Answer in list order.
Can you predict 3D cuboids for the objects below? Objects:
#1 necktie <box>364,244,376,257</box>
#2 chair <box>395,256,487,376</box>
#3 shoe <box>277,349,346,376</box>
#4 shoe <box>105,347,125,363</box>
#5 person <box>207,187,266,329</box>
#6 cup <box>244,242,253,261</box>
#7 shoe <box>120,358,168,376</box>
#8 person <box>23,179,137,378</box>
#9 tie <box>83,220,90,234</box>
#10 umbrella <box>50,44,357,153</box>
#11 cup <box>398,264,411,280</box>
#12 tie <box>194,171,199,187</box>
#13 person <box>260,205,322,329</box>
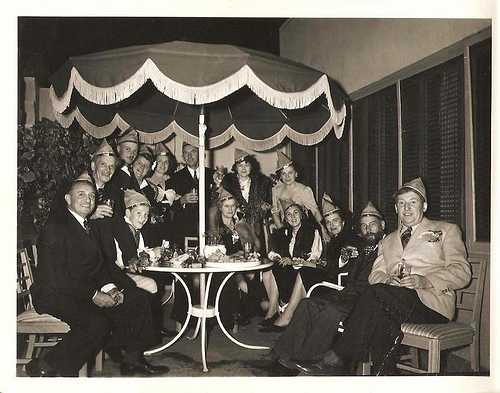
[{"bbox_3d":[1.169,0.511,5.484,0.099,0.109,0.022,15,-8,39],"label":"necktie"},{"bbox_3d":[1.707,1.127,5.126,0.751,1.249,0.736,1,-3,-41],"label":"chair"},{"bbox_3d":[0.603,1.484,5.104,0.497,0.248,0.183,4,-6,-5],"label":"shoe"},{"bbox_3d":[-1.266,1.488,5.248,0.132,0.034,0.133,33,-3,38],"label":"shoe"},{"bbox_3d":[-0.153,0.716,6.177,0.677,1.642,0.611,-10,16,1],"label":"person"},{"bbox_3d":[-0.024,0.514,5.382,0.093,0.204,0.119,2,-9,0],"label":"cup"},{"bbox_3d":[-0.957,1.558,5.168,0.436,0.211,0.161,-4,-5,-7],"label":"shoe"},{"bbox_3d":[-1.509,0.755,5.273,0.921,1.810,0.839,-4,9,-24],"label":"person"},{"bbox_3d":[-1.533,0.282,5.271,0.026,0.134,0.032,-11,-12,-11],"label":"tie"},{"bbox_3d":[-0.508,-0.950,5.911,2.870,0.836,2.012,3,1,-1],"label":"umbrella"},{"bbox_3d":[1.364,0.658,4.966,0.092,0.129,0.134,2,1,11],"label":"cup"},{"bbox_3d":[-0.668,-0.218,7.029,0.051,0.256,0.070,5,-37,-15],"label":"tie"},{"bbox_3d":[0.433,0.736,6.199,0.678,1.358,0.603,14,-24,-20],"label":"person"}]
